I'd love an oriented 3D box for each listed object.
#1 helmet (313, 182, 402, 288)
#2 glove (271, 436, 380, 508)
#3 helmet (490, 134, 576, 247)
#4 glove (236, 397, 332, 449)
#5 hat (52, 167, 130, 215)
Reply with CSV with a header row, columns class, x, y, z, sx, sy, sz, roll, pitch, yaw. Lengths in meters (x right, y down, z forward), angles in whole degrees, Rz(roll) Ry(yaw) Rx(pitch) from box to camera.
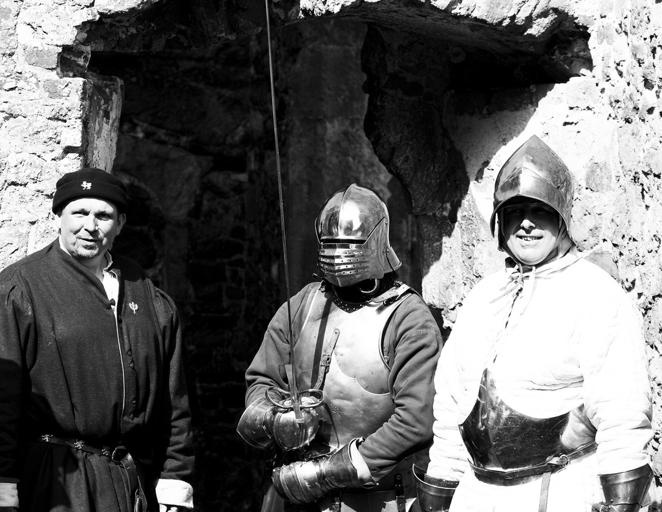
class,x,y,z,sx,sy,sz,roll,pitch,yaw
helmet,0.088,-0.087,5.504,0.407,0.398,0.467,2,9,17
glove,-0.033,0.875,5.250,0.401,0.157,0.211,-15,36,10
helmet,0.755,-0.250,4.949,0.352,0.396,0.472,4,-13,7
glove,-0.260,0.667,5.307,0.299,0.145,0.217,7,23,-9
hat,-0.928,-0.266,5.117,0.224,0.130,0.211,0,-7,4
